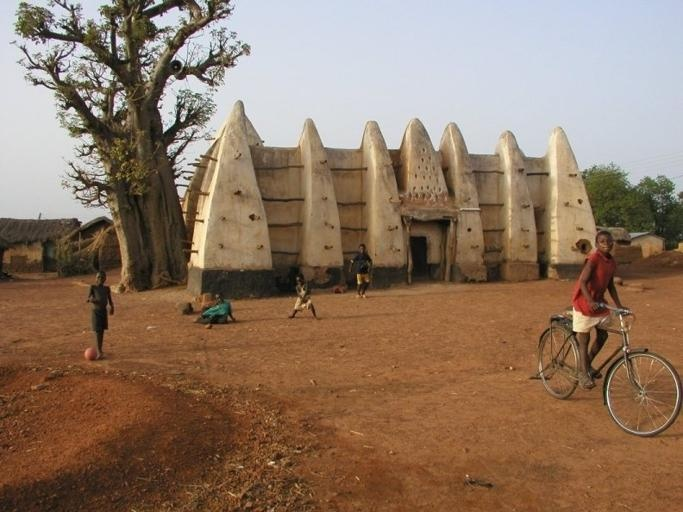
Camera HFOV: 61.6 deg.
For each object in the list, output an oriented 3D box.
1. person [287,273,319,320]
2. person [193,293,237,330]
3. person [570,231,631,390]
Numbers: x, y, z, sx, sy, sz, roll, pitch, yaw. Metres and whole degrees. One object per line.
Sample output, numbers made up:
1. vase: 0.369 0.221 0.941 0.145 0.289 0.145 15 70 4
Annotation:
1. person: -0.892 0.988 14.027 0.764 1.270 0.440 2 30 9
2. person: -2.573 1.116 11.746 0.807 0.566 1.164 -2 9 -12
3. person: 2.991 0.624 6.685 0.524 1.844 0.641 4 11 23
